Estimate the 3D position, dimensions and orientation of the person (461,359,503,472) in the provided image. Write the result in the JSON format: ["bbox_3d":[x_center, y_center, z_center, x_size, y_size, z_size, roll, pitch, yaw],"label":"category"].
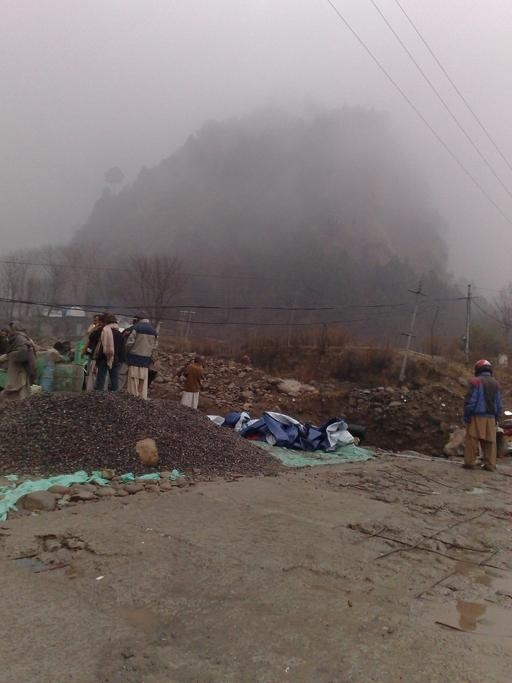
[{"bbox_3d":[3.773,1.217,8.805,0.570,1.615,0.953,6,-1,24],"label":"person"}]

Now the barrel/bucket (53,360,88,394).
[{"bbox_3d":[-2.790,0.542,7.858,0.484,0.472,0.459,3,-1,0],"label":"barrel/bucket"}]

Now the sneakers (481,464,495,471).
[{"bbox_3d":[3.712,2.019,8.454,0.133,0.095,0.101,-15,-18,39],"label":"sneakers"}]
